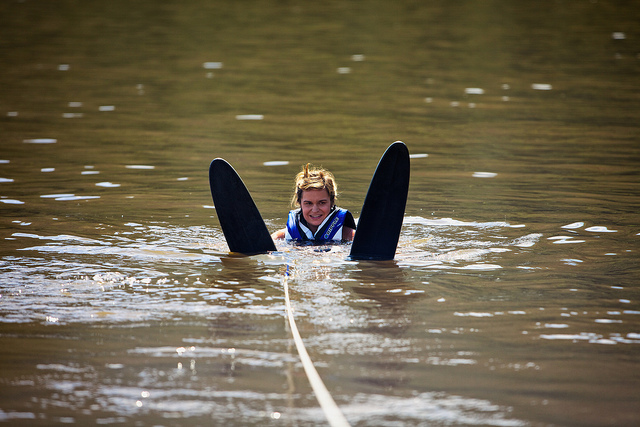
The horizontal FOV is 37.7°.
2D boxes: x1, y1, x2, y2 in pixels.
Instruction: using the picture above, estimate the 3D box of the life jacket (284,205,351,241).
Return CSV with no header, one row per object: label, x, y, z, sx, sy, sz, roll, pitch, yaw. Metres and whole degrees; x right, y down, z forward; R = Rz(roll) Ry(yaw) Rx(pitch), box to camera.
life jacket,-0.001,0.132,11.329,0.797,0.419,0.395,2,89,14
